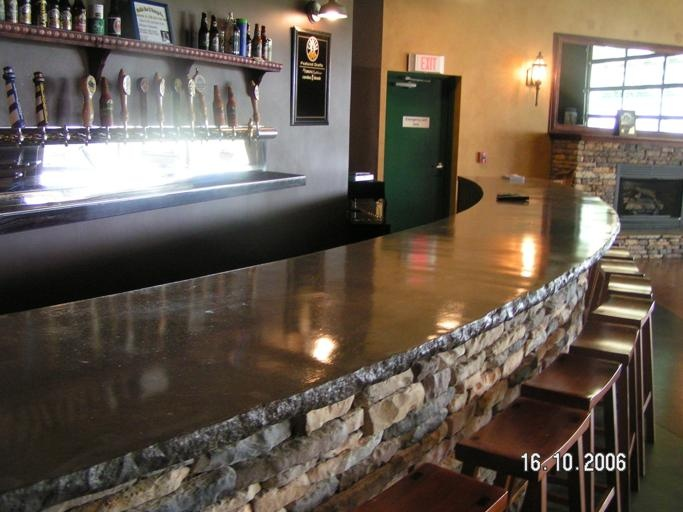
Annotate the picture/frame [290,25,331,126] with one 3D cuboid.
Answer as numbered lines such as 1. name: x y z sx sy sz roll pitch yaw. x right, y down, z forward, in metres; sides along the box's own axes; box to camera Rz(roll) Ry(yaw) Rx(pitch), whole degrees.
1. picture/frame: -0.314 -1.761 4.633 0.068 1.060 0.897 5 8 24

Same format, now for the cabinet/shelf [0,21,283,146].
1. cabinet/shelf: -1.255 -1.158 3.389 0.352 0.612 1.957 14 20 35

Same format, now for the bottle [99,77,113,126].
1. bottle: -1.525 -0.994 3.136 0.078 0.301 0.296 -5 17 -24

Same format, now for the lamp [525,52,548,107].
1. lamp: 3.104 -2.817 7.683 0.415 0.813 0.174 -9 19 -34
